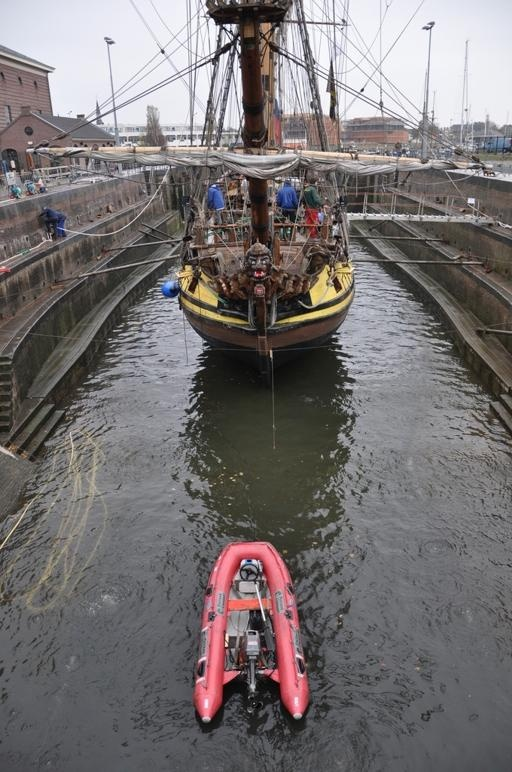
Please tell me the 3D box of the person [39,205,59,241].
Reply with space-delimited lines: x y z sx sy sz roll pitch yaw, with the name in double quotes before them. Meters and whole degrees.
"person" -8.584 -6.710 21.378 0.693 1.222 0.414 -9 21 -19
